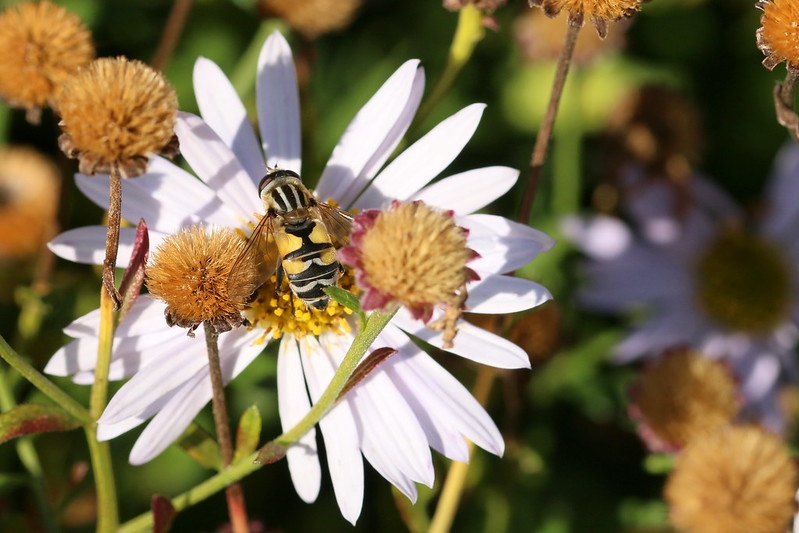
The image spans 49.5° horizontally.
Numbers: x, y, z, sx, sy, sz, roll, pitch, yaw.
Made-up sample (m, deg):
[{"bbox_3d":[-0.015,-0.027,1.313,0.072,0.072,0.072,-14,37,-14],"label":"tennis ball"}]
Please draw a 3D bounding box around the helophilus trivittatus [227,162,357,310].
[{"bbox_3d":[-0.208,-0.076,1.722,0.293,0.286,0.105,5,50,3],"label":"helophilus trivittatus"}]
